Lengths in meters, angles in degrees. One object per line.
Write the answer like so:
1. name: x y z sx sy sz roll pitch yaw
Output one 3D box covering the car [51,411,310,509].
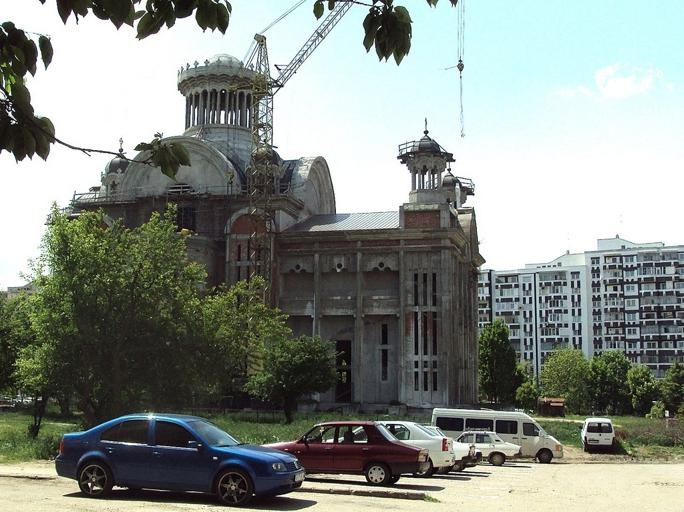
1. car: -5.389 6.805 34.582 7.369 2.820 3.390 -2 -9 15
